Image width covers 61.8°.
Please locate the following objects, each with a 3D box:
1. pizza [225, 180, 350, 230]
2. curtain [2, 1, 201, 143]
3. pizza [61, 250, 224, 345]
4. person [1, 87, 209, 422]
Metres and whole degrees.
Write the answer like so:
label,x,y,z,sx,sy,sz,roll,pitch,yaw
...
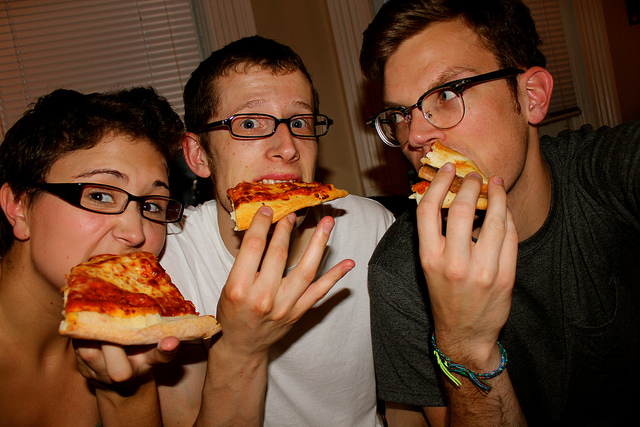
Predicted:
label,x,y,z,sx,sy,sz,roll,pitch,yaw
pizza,-0.215,-0.121,3.542,0.631,0.180,0.380,-9,20,-19
curtain,-2.021,-1.272,4.737,1.274,1.316,0.055,-22,4,-16
pizza,-1.040,0.466,3.200,0.668,0.161,0.649,37,-2,-41
person,-1.682,0.298,3.784,1.568,2.338,0.717,3,-4,-26
